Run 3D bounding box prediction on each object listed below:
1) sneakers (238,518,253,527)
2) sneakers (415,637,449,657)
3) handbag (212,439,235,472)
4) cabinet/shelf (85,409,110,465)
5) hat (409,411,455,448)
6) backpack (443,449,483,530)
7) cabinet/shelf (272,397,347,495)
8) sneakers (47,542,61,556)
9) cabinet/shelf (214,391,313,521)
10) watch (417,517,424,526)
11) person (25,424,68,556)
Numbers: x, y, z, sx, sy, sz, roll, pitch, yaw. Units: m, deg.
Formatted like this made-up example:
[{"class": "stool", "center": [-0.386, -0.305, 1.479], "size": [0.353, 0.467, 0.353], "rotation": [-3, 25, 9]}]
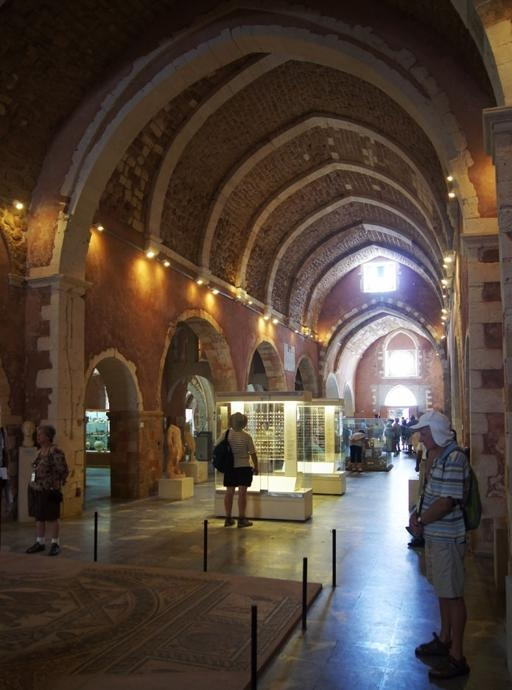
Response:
[{"class": "sneakers", "center": [-0.154, 2.582, 7.721], "size": [0.086, 0.111, 0.258], "rotation": [-1, -3, 28]}, {"class": "sneakers", "center": [1.055, 1.799, 3.190], "size": [0.207, 0.132, 0.083], "rotation": [0, -10, 18]}, {"class": "handbag", "center": [-0.511, 1.633, 7.818], "size": [0.308, 0.498, 0.178], "rotation": [-5, -8, 31]}, {"class": "cabinet/shelf", "center": [-5.861, 3.458, 19.604], "size": [0.965, 2.073, 0.877], "rotation": [0, -7, -3]}, {"class": "hat", "center": [1.076, 0.487, 3.193], "size": [0.259, 0.179, 0.174], "rotation": [11, 3, 1]}, {"class": "backpack", "center": [1.176, 0.822, 3.021], "size": [0.148, 0.502, 0.322], "rotation": [-7, -9, 41]}, {"class": "cabinet/shelf", "center": [1.446, 2.339, 12.527], "size": [1.174, 1.946, 2.042], "rotation": [-1, -8, 7]}, {"class": "sneakers", "center": [-2.329, 2.334, 6.096], "size": [0.086, 0.114, 0.258], "rotation": [2, 0, 2]}, {"class": "cabinet/shelf", "center": [0.105, 1.805, 8.824], "size": [1.496, 2.033, 0.706], "rotation": [-2, -6, 10]}, {"class": "watch", "center": [0.939, 1.004, 3.015], "size": [0.013, 0.036, 0.025], "rotation": [2, -7, -41]}, {"class": "person", "center": [-2.472, 1.721, 6.273], "size": [0.420, 1.506, 0.716], "rotation": [3, -8, -23]}]
